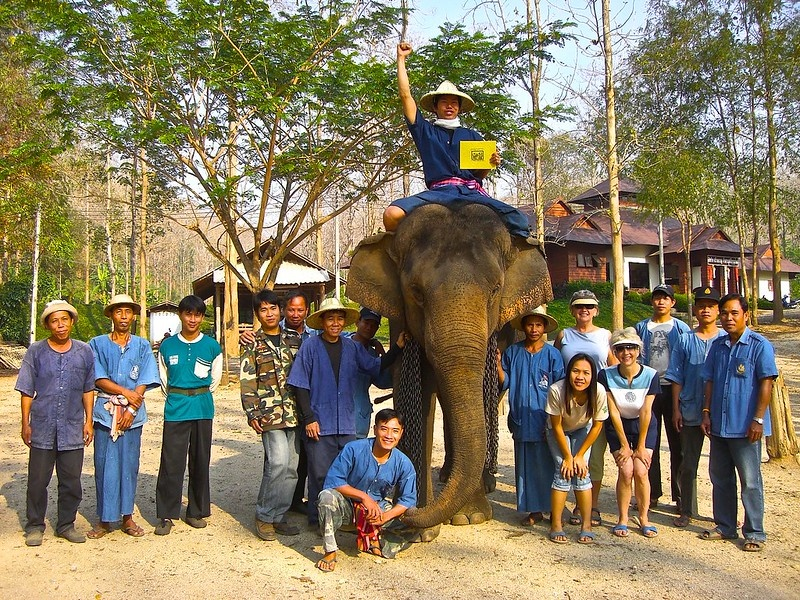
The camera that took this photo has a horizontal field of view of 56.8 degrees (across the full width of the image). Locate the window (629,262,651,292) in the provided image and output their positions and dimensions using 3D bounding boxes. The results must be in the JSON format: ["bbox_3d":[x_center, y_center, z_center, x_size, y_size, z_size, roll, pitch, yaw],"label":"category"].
[{"bbox_3d":[13.250,-1.286,41.217,1.578,2.060,0.204,-1,0,-33],"label":"window"}]

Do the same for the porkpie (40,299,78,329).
[{"bbox_3d":[-3.662,0.134,8.003,0.343,0.271,0.399,2,-5,-27],"label":"porkpie"}]

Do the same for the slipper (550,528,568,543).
[{"bbox_3d":[1.698,2.551,7.967,0.199,0.123,0.138,0,-4,9],"label":"slipper"}]

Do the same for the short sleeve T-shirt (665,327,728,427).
[{"bbox_3d":[3.522,0.893,8.673,0.811,1.251,0.339,-2,24,15],"label":"short sleeve T-shirt"}]

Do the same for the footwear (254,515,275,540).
[{"bbox_3d":[-1.448,2.505,8.055,0.210,0.210,0.161,1,-4,-14],"label":"footwear"}]

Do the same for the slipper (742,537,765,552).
[{"bbox_3d":[3.686,2.574,7.755,0.243,0.122,0.084,1,-4,-10],"label":"slipper"}]

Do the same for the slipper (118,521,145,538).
[{"bbox_3d":[-2.928,2.513,8.122,0.241,0.164,0.127,0,-1,22],"label":"slipper"}]

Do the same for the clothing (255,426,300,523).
[{"bbox_3d":[-1.319,1.900,8.164,0.361,1.135,0.453,-8,-14,36],"label":"clothing"}]

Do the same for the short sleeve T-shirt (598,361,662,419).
[{"bbox_3d":[2.626,1.064,8.568,0.721,0.709,0.417,-3,24,20],"label":"short sleeve T-shirt"}]

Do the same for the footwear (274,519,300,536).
[{"bbox_3d":[-1.242,2.526,8.181,0.249,0.109,0.129,0,-3,13],"label":"footwear"}]

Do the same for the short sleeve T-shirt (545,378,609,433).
[{"bbox_3d":[2.017,1.198,8.202,0.655,0.677,0.392,-1,2,32],"label":"short sleeve T-shirt"}]

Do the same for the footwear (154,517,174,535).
[{"bbox_3d":[-2.581,2.512,8.149,0.171,0.162,0.121,3,-5,-31],"label":"footwear"}]

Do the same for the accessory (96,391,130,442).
[{"bbox_3d":[-3.094,1.284,8.031,0.413,0.709,0.206,5,-17,-21],"label":"accessory"}]

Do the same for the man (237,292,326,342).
[{"bbox_3d":[-1.492,0.169,8.745,0.640,0.668,1.062,10,7,-4],"label":"man"}]

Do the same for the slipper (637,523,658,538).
[{"bbox_3d":[2.708,2.535,8.125,0.197,0.119,0.181,-1,-5,21],"label":"slipper"}]

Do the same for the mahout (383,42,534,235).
[{"bbox_3d":[0.642,-1.718,8.177,1.504,2.196,1.274,-2,3,16],"label":"mahout"}]

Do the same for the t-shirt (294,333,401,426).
[{"bbox_3d":[-0.581,0.931,8.235,1.327,1.235,0.453,5,-11,-19],"label":"t-shirt"}]

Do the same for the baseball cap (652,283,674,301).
[{"bbox_3d":[3.169,-0.113,8.973,0.176,0.160,0.266,8,-18,35],"label":"baseball cap"}]

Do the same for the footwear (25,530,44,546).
[{"bbox_3d":[-3.844,2.524,7.828,0.171,0.157,0.171,3,-5,-30],"label":"footwear"}]

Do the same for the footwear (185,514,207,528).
[{"bbox_3d":[-2.291,2.506,8.380,0.206,0.090,0.110,-1,2,31],"label":"footwear"}]

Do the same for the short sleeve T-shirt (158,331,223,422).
[{"bbox_3d":[-2.379,0.893,8.431,0.660,1.009,0.403,0,2,-16],"label":"short sleeve T-shirt"}]

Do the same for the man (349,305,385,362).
[{"bbox_3d":[-0.355,0.352,8.697,0.394,0.634,0.524,9,-18,-5],"label":"man"}]

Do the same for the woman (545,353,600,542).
[{"bbox_3d":[1.911,1.610,8.051,0.630,2.011,0.467,-1,-4,14],"label":"woman"}]

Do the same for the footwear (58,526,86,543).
[{"bbox_3d":[-3.486,2.520,7.907,0.322,0.143,0.144,5,3,21],"label":"footwear"}]

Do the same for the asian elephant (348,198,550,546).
[{"bbox_3d":[0.506,0.760,7.758,1.583,3.620,1.475,-3,-5,43],"label":"asian elephant"}]

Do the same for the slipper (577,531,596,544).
[{"bbox_3d":[2.033,2.555,7.981,0.285,0.121,0.141,3,-5,-36],"label":"slipper"}]

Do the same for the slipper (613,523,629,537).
[{"bbox_3d":[2.414,2.529,8.143,0.176,0.133,0.217,-1,-4,15],"label":"slipper"}]

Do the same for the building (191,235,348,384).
[{"bbox_3d":[-5.561,0.269,30.251,5.501,5.065,6.417,1,9,11],"label":"building"}]

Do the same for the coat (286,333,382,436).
[{"bbox_3d":[-0.762,0.934,8.162,1.068,1.054,0.255,2,-11,-23],"label":"coat"}]

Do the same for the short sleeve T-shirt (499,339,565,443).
[{"bbox_3d":[1.492,1.064,8.546,0.761,1.163,0.297,5,6,16],"label":"short sleeve T-shirt"}]

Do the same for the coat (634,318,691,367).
[{"bbox_3d":[3.203,0.581,8.985,0.351,0.732,0.705,-1,2,-36],"label":"coat"}]

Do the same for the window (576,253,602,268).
[{"bbox_3d":[9.865,-1.993,38.880,1.773,0.798,0.348,4,-5,-40],"label":"window"}]

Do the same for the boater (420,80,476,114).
[{"bbox_3d":[0.530,-2.386,8.382,0.425,0.222,0.449,0,-10,12],"label":"boater"}]

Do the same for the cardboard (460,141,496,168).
[{"bbox_3d":[0.833,-1.588,8.094,0.275,0.223,0.046,0,0,2],"label":"cardboard"}]
